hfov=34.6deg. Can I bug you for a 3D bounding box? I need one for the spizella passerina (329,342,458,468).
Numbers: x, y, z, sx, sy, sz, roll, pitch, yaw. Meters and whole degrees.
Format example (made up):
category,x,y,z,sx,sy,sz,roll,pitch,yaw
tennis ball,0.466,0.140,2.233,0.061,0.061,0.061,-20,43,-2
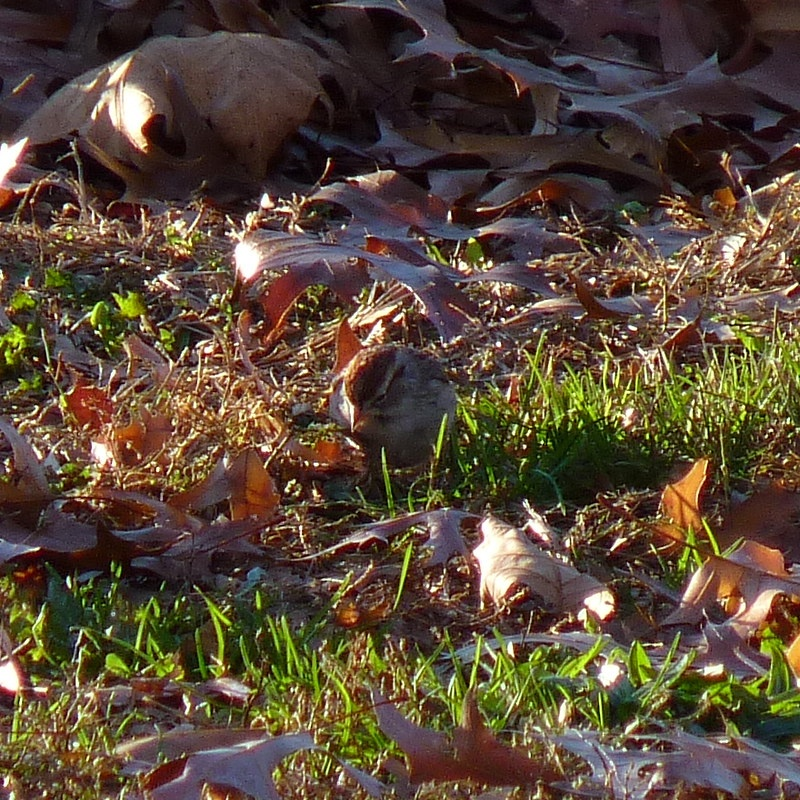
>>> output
category,x,y,z,sx,sy,sz,roll,pitch,yaw
spizella passerina,-0.008,0.010,2.360,0.258,0.221,0.114,-11,13,10
